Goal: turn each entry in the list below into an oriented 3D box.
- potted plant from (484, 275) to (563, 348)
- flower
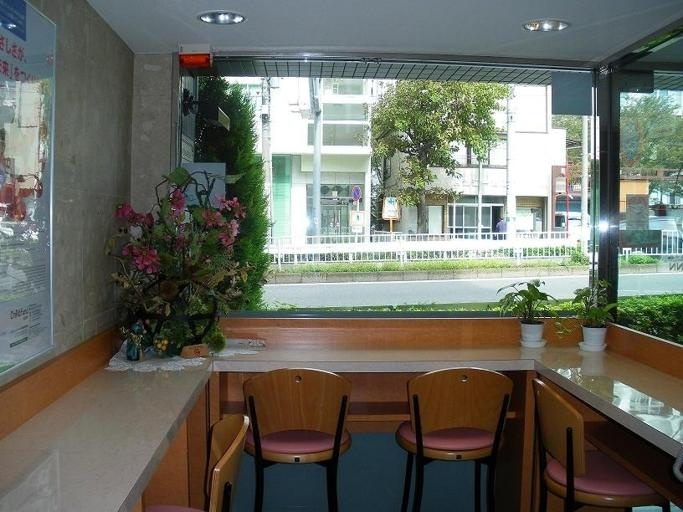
[{"bbox_3d":[1.095,0.336,3.551,0.391,0.408,0.393,0,0,-32],"label":"potted plant"},{"bbox_3d":[-0.946,-0.012,3.208,0.705,0.988,0.682,-4,14,-24],"label":"flower"}]
